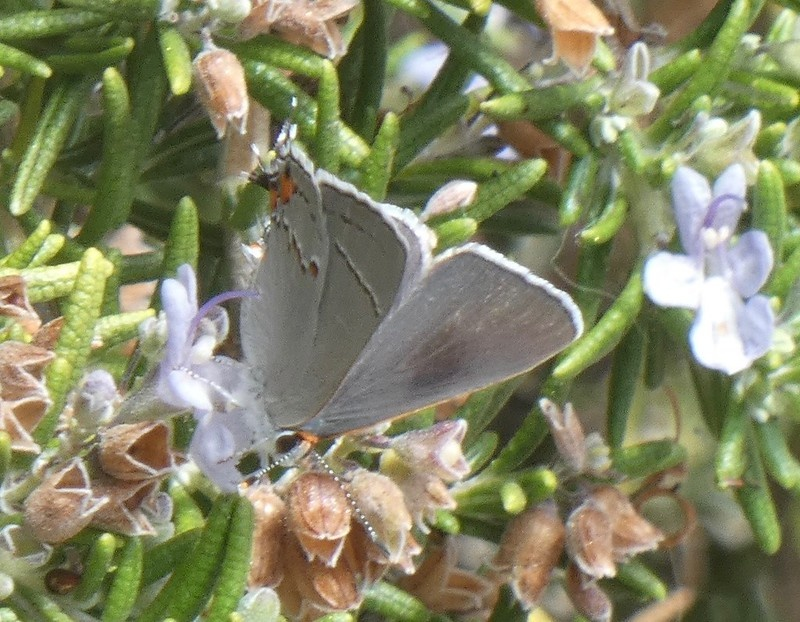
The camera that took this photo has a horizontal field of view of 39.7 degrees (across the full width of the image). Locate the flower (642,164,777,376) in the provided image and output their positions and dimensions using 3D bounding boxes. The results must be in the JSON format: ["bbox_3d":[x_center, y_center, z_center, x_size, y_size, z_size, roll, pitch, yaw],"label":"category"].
[{"bbox_3d":[0.372,-0.043,1.337,0.130,0.103,0.266,-10,62,10],"label":"flower"}]

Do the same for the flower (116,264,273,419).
[{"bbox_3d":[-0.199,0.021,1.148,0.073,0.166,0.147,12,32,39],"label":"flower"}]

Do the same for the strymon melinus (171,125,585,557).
[{"bbox_3d":[-0.030,0.067,1.102,0.348,0.335,0.208,25,40,7],"label":"strymon melinus"}]
